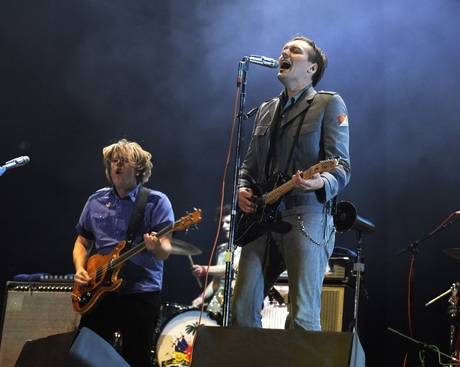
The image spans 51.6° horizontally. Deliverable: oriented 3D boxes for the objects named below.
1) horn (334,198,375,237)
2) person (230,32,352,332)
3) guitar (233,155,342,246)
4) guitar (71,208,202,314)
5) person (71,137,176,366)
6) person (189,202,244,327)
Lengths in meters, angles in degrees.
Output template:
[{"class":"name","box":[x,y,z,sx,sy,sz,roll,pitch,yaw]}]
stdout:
[{"class":"horn","box":[1.049,0.306,4.143,0.343,0.471,0.347,1,0,36]},{"class":"person","box":[0.416,0.244,3.410,0.708,2.681,0.617,-2,-11,26]},{"class":"guitar","box":[0.374,0.143,3.237,0.698,0.591,0.182,-3,-14,37]},{"class":"guitar","box":[-0.846,0.638,3.850,0.218,1.339,0.480,57,-12,-25]},{"class":"person","box":[-0.804,0.494,4.039,0.821,2.089,0.702,1,-2,23]},{"class":"person","box":[-0.151,0.936,5.526,0.362,1.423,0.408,3,-1,-37]}]
